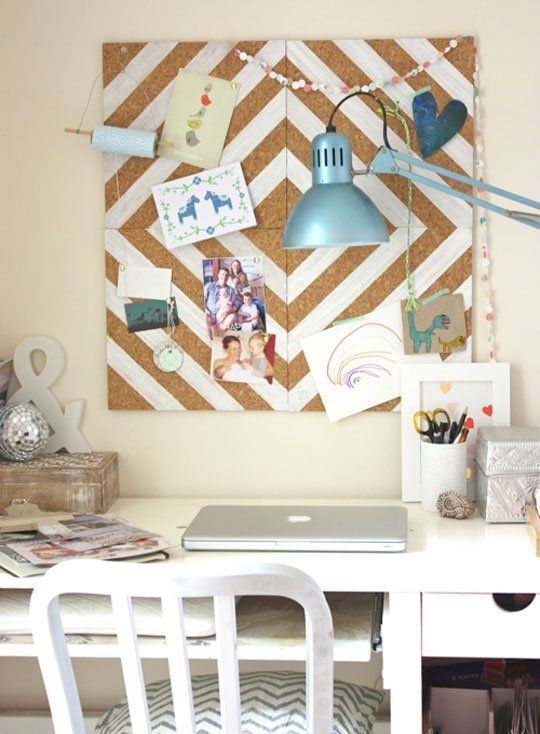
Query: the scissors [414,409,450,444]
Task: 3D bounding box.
[{"bbox_3d":[0.331,0.121,1.503,0.057,0.069,0.012,-26,-21,-22],"label":"scissors"}]
